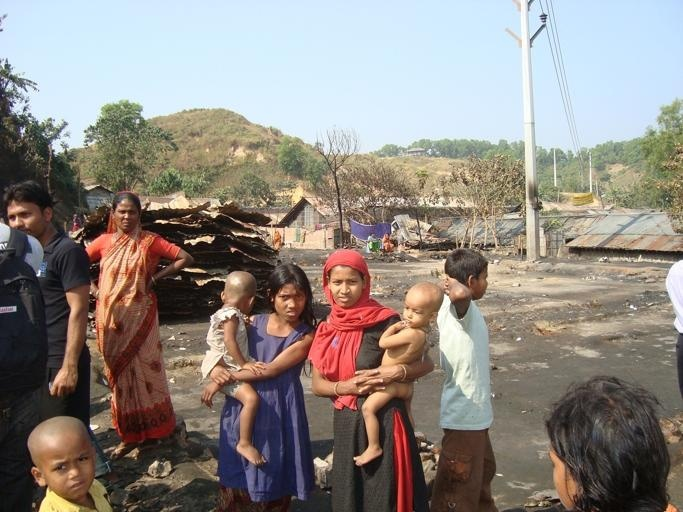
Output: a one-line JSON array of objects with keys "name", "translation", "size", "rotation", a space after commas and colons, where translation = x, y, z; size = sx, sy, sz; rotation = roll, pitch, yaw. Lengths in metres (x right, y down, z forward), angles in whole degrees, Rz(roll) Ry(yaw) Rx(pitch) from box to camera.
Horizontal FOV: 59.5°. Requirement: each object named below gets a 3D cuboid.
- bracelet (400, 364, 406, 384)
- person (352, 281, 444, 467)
[{"name": "bracelet", "translation": [0.379, 0.703, 3.593], "size": [0.031, 0.080, 0.061], "rotation": [-1, 0, -15]}, {"name": "person", "translation": [0.361, 0.708, 3.657], "size": [0.646, 1.076, 0.235], "rotation": [-6, 9, -37]}]
